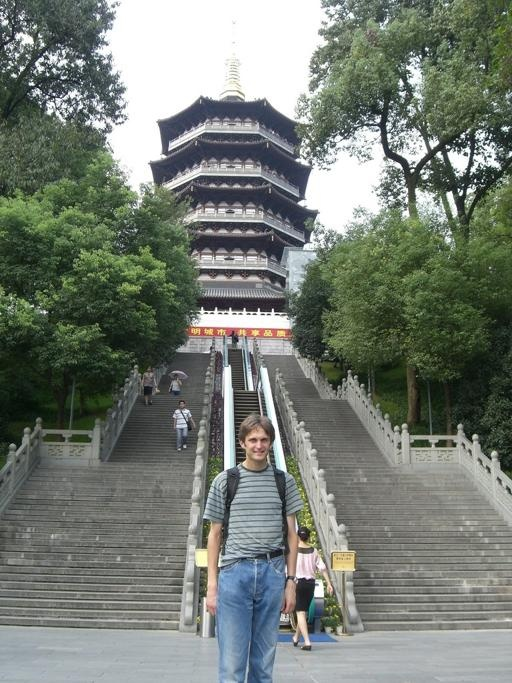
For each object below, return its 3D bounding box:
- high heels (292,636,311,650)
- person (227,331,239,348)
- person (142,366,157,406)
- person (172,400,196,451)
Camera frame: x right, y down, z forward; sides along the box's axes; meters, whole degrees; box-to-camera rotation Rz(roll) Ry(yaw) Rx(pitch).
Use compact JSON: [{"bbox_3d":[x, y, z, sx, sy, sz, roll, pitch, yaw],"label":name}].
[{"bbox_3d":[0.477,3.097,6.438,0.085,0.116,0.304,3,-11,-28],"label":"high heels"},{"bbox_3d":[-1.136,-0.056,31.665,0.594,1.350,0.619,-3,-46,-3],"label":"person"},{"bbox_3d":[-3.324,1.449,19.558,0.426,1.130,1.546,2,-9,-9],"label":"person"},{"bbox_3d":[-1.842,2.171,16.055,0.482,1.210,1.769,1,-9,-6],"label":"person"}]
